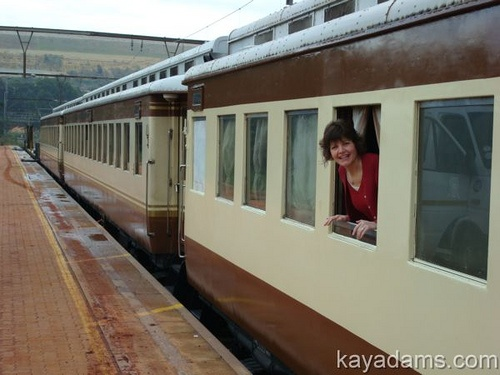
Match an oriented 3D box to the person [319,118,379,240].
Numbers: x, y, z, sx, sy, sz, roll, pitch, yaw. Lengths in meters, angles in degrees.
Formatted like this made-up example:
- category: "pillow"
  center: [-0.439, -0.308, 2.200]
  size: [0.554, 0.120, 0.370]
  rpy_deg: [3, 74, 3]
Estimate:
- category: "person"
  center: [0.797, -0.088, 3.627]
  size: [0.515, 0.888, 0.381]
  rpy_deg: [3, 5, 27]
